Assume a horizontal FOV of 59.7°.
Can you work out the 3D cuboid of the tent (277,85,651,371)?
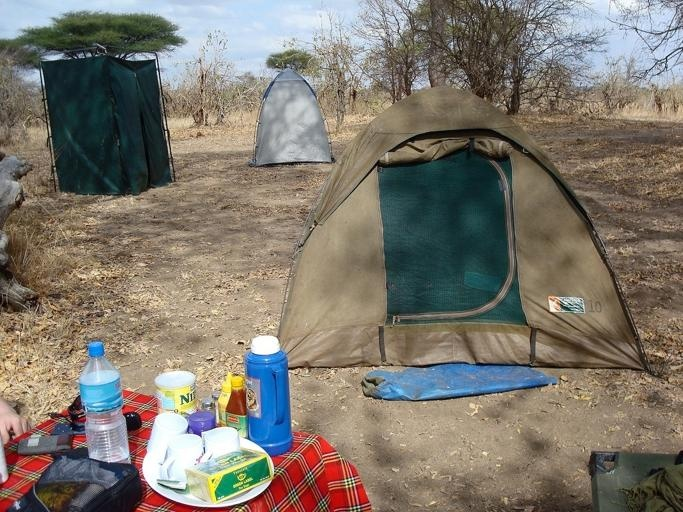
[{"bbox_3d":[1.036,-0.172,5.448,2.993,2.400,0.668,-1,17,3],"label":"tent"}]

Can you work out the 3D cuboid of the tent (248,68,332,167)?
[{"bbox_3d":[-1.312,-3.628,15.837,2.573,2.739,2.330,2,19,-5],"label":"tent"}]

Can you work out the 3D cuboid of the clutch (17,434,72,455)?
[{"bbox_3d":[-1.491,0.941,2.983,0.164,0.035,0.116,1,5,-4],"label":"clutch"}]

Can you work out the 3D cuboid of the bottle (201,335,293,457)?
[{"bbox_3d":[-0.373,0.689,2.910,0.225,0.588,0.143,-5,17,-8],"label":"bottle"}]
